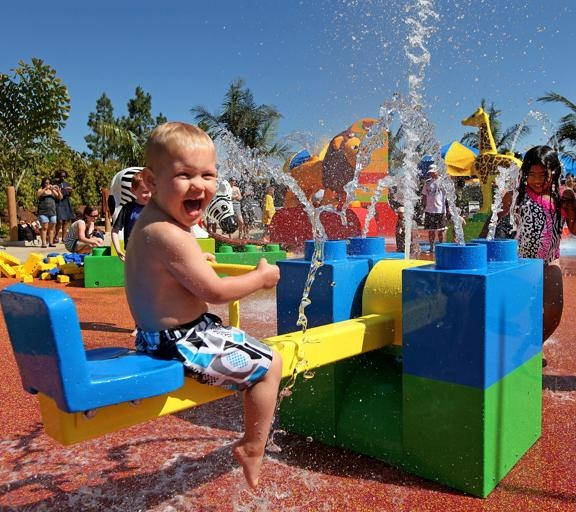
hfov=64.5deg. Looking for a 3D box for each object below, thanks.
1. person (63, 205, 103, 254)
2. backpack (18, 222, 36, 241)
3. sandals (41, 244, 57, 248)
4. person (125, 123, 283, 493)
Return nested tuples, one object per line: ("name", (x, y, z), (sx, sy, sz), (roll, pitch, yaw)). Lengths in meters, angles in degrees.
("person", (-3.818, -0.499, 8.463), (0.652, 0.865, 1.391), (-3, 6, -23))
("backpack", (-8.436, -0.782, 14.687), (0.515, 0.551, 0.303), (6, 14, 27))
("sandals", (-6.616, -0.306, 12.565), (0.338, 0.158, 0.110), (0, 3, 35))
("person", (-0.290, 0.176, 1.633), (0.524, 1.207, 0.509), (2, 9, 0))
